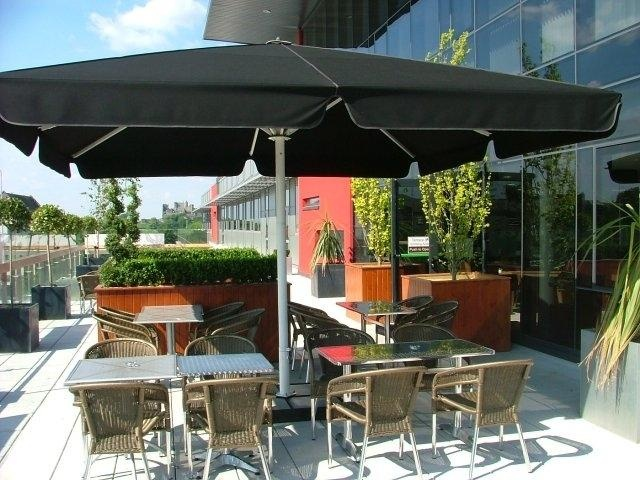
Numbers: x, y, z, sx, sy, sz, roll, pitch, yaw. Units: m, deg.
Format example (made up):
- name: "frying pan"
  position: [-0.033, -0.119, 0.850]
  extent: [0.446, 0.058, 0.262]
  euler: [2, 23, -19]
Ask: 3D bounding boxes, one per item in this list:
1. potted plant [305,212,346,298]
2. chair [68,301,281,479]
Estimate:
- name: "potted plant"
  position: [0.286, 0.422, 15.384]
  extent: [0.891, 2.174, 0.933]
  euler: [-2, 1, 41]
- name: "chair"
  position: [-1.334, 1.754, 5.456]
  extent: [2.158, 2.002, 1.053]
  euler: [0, 0, -10]
